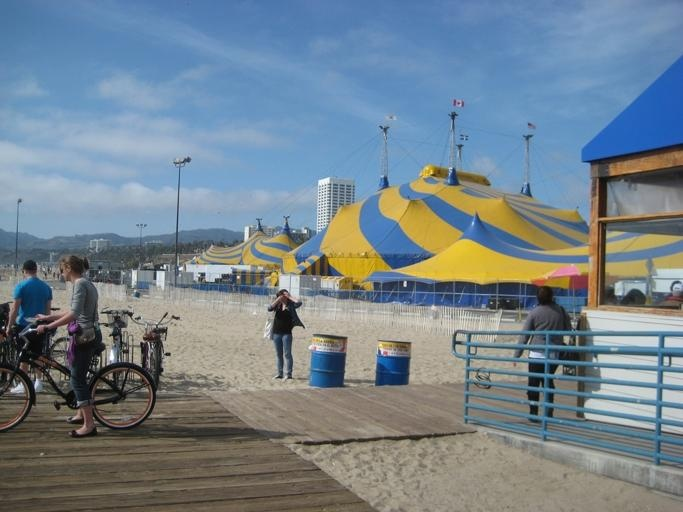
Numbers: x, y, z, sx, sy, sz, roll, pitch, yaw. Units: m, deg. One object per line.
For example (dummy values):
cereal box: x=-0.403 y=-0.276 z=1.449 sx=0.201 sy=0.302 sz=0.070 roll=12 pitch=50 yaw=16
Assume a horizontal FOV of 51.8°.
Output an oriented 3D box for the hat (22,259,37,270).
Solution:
hat: x=-4.270 y=0.114 z=9.673 sx=0.141 sy=0.115 sz=0.192 roll=2 pitch=8 yaw=-38

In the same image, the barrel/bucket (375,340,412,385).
barrel/bucket: x=0.820 y=1.853 z=12.358 sx=0.717 sy=0.754 sz=0.716 roll=1 pitch=-4 yaw=0

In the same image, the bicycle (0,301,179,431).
bicycle: x=-2.863 y=1.421 z=8.234 sx=1.987 sy=1.198 sz=0.964 roll=4 pitch=-3 yaw=-7

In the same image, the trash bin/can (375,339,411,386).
trash bin/can: x=0.812 y=1.850 z=12.360 sx=0.720 sy=0.755 sz=0.719 roll=1 pitch=-4 yaw=1

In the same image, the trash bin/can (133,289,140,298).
trash bin/can: x=-12.070 y=2.187 z=41.648 sx=0.425 sy=0.436 sz=0.422 roll=2 pitch=7 yaw=-15

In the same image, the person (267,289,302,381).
person: x=-1.087 y=1.470 z=13.696 sx=0.613 sy=1.472 sz=1.767 roll=1 pitch=-1 yaw=-3

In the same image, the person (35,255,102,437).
person: x=-2.976 y=0.970 z=7.761 sx=0.636 sy=1.963 sz=0.685 roll=2 pitch=-1 yaw=-21

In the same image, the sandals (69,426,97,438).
sandals: x=-2.782 y=1.911 z=7.696 sx=0.335 sy=0.138 sz=0.112 roll=10 pitch=-12 yaw=-28

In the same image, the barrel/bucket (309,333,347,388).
barrel/bucket: x=-0.217 y=1.809 z=12.211 sx=0.749 sy=0.849 sz=0.810 roll=1 pitch=-6 yaw=0

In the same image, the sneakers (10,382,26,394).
sneakers: x=-3.540 y=1.451 z=7.751 sx=0.182 sy=0.132 sz=0.059 roll=1 pitch=-1 yaw=20

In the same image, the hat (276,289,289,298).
hat: x=-1.093 y=0.700 z=13.311 sx=0.151 sy=0.158 sz=0.207 roll=-2 pitch=-10 yaw=26

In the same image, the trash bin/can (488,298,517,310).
trash bin/can: x=6.869 y=1.984 z=29.847 sx=1.268 sy=0.384 sz=0.874 roll=1 pitch=-1 yaw=4

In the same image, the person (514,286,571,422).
person: x=2.623 y=1.263 z=9.195 sx=0.702 sy=1.227 sz=1.726 roll=1 pitch=-1 yaw=18

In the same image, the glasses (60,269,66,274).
glasses: x=-3.087 y=0.162 z=7.800 sx=0.050 sy=0.071 sz=0.046 roll=7 pitch=6 yaw=16

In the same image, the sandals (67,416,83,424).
sandals: x=-3.024 y=1.863 z=8.028 sx=0.091 sy=0.062 sz=0.156 roll=-7 pitch=-23 yaw=22

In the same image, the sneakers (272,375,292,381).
sneakers: x=-1.110 y=2.291 z=13.254 sx=0.341 sy=0.131 sz=0.115 roll=9 pitch=-15 yaw=-11
